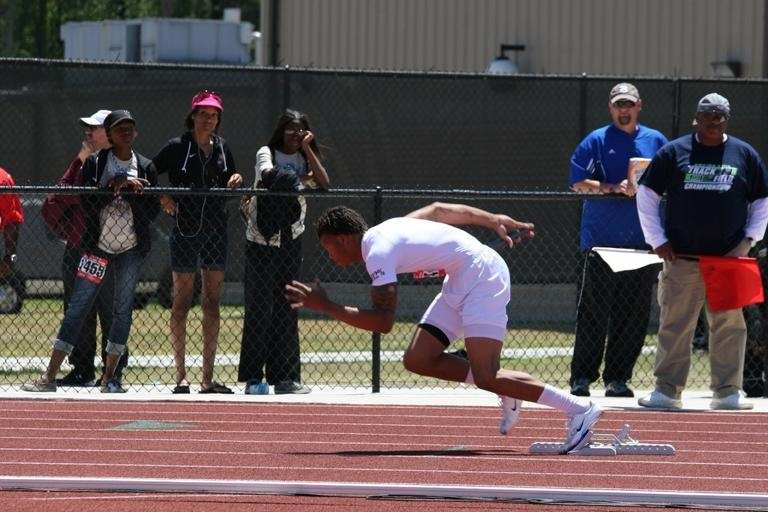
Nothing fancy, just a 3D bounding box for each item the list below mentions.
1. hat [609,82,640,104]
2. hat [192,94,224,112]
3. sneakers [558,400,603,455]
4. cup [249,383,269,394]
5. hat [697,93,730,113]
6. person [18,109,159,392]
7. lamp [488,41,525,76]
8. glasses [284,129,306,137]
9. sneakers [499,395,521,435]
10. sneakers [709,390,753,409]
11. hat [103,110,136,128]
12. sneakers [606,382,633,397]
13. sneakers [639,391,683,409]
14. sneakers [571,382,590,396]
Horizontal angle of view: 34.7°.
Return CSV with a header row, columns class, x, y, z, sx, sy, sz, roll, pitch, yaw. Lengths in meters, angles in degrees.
class,x,y,z,sx,sy,sz,roll,pitch,yaw
hat,2.635,-1.812,13.428,0.267,0.251,0.405,-1,-12,13
hat,-1.921,-1.686,13.300,0.287,0.182,0.551,1,7,-6
sneakers,1.750,1.546,11.061,0.271,0.608,0.220,23,26,-7
cup,-1.357,1.424,13.083,0.111,0.087,0.160,0,1,23
hat,3.303,-1.534,12.323,0.294,0.199,0.210,4,7,16
person,-3.009,-0.048,13.123,1.117,3.004,0.592,0,6,-13
lamp,1.853,-3.020,18.566,0.568,0.519,2.104,3,7,6
glasses,-0.954,-1.320,13.070,0.223,0.089,0.061,0,6,-19
sneakers,1.158,1.448,11.352,0.266,0.444,0.142,1,18,-7
sneakers,3.580,1.498,12.683,0.348,0.170,0.204,-2,-3,4
hat,-2.858,-1.457,13.064,0.324,0.181,0.196,2,7,2
sneakers,2.526,1.428,13.191,0.247,0.192,0.148,-2,-4,7
sneakers,2.861,1.519,12.696,0.349,0.160,0.208,5,-11,2
sneakers,2.105,1.436,13.196,0.181,0.148,0.246,0,-8,22
